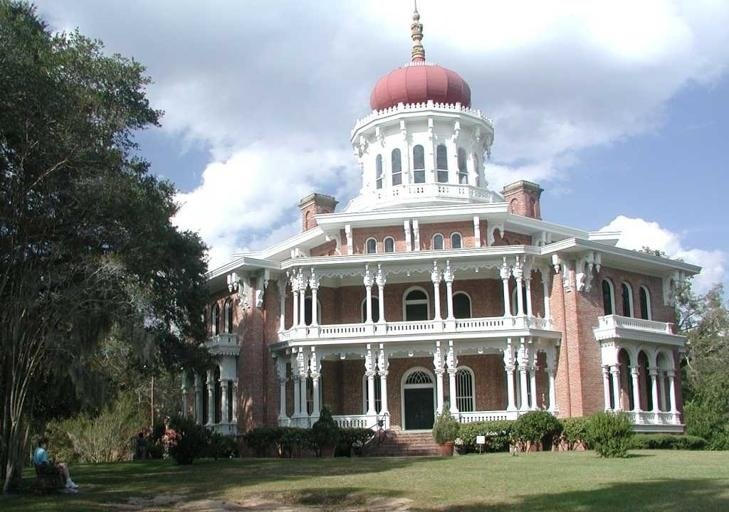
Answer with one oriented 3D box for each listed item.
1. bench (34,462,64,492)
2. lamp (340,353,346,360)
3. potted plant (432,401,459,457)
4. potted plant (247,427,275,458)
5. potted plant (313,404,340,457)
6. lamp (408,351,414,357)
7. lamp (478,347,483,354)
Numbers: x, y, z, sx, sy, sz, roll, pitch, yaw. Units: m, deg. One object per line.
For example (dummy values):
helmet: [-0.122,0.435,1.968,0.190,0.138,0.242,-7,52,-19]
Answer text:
bench: [-11.417,7.978,30.051,0.843,0.991,0.910,-1,-8,10]
lamp: [-1.173,5.298,44.173,0.426,0.454,0.232,0,-11,-3]
potted plant: [3.845,8.379,39.945,1.117,2.416,1.327,-5,-17,14]
potted plant: [-5.309,9.443,42.231,1.401,1.401,1.092,1,-17,-8]
potted plant: [-1.881,8.489,40.166,1.257,2.293,1.004,-6,-17,15]
lamp: [2.418,5.160,43.838,0.255,0.265,0.263,-2,-4,36]
lamp: [6.049,4.906,43.392,0.278,0.306,0.330,-1,-22,6]
